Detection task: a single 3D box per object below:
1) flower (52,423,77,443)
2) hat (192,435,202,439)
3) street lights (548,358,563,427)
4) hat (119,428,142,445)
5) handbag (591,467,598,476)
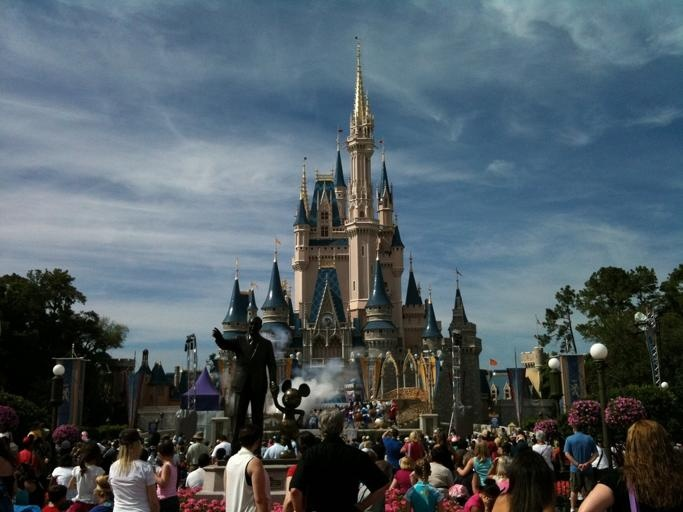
[{"bbox_3d":[-5.650,3.648,19.035,0.421,0.354,0.428,2,-5,1],"label":"flower"},{"bbox_3d":[-3.564,4.472,22.932,0.194,0.057,0.197,2,-6,27],"label":"hat"},{"bbox_3d":[5.982,3.681,25.394,0.428,1.788,0.435,-8,-7,11],"label":"street lights"},{"bbox_3d":[-3.337,2.846,14.658,0.323,0.254,0.322,2,-14,-14],"label":"hat"},{"bbox_3d":[5.193,4.427,19.067,0.166,0.155,0.113,0,-10,6],"label":"handbag"}]
